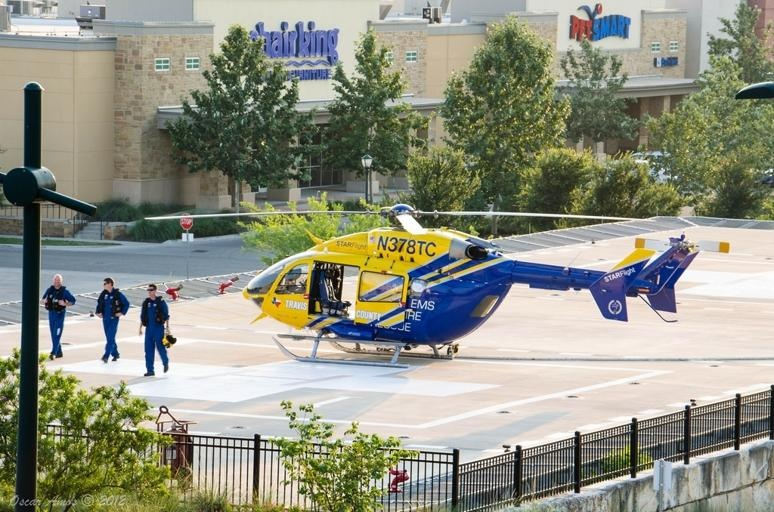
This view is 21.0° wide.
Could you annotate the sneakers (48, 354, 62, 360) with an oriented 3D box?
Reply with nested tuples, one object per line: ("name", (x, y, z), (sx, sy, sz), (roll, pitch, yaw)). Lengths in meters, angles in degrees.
("sneakers", (-13.215, 4.086, 82.960), (0.529, 0.155, 0.210), (2, -15, -7))

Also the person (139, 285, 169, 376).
("person", (-9.045, 2.945, 81.422), (1.313, 3.574, 1.193), (-2, 3, -23))
